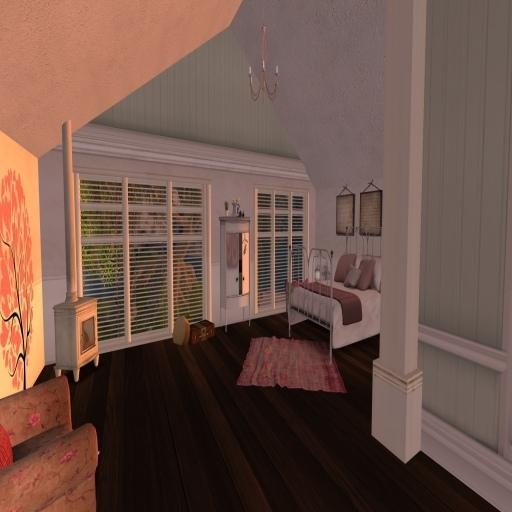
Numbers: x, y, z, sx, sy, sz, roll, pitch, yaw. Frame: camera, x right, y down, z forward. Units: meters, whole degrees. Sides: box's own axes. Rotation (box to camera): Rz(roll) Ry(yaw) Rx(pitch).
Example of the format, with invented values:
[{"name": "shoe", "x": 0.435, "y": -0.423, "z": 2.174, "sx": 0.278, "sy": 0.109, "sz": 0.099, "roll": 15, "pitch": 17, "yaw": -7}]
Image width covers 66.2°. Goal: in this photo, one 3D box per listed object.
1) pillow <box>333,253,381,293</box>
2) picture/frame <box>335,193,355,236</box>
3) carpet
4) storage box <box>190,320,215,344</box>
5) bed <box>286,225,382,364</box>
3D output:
[{"name": "pillow", "x": 1.344, "y": 0.195, "z": 5.570, "sx": 0.135, "sy": 0.555, "sz": 0.450, "roll": 25, "pitch": -20, "yaw": -36}, {"name": "picture/frame", "x": 1.370, "y": -0.653, "z": 5.980, "sx": 0.023, "sy": 0.844, "sz": 0.488, "roll": -2, "pitch": 5, "yaw": -23}, {"name": "carpet", "x": 0.368, "y": 1.154, "z": 4.219, "sx": 1.043, "sy": 0.091, "sz": 1.095, "roll": 2, "pitch": 12, "yaw": 6}, {"name": "storage box", "x": -0.728, "y": 0.953, "z": 5.018, "sx": 0.260, "sy": 0.199, "sz": 0.435, "roll": 5, "pitch": 12, "yaw": 23}, {"name": "bed", "x": 0.999, "y": 0.419, "z": 5.209, "sx": 1.274, "sy": 1.339, "sz": 1.753, "roll": 10, "pitch": 14, "yaw": 43}]
